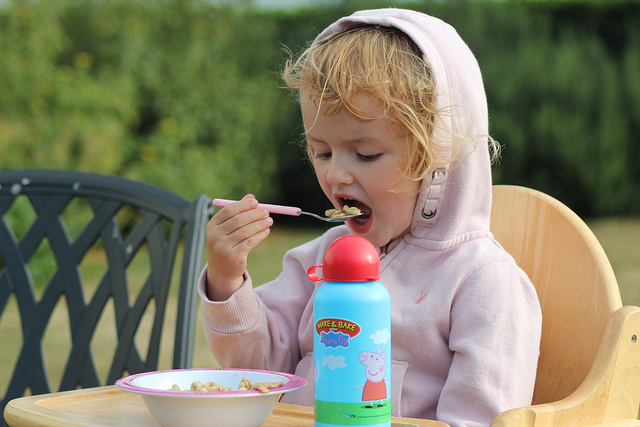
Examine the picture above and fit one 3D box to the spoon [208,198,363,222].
[{"bbox_3d":[-0.162,-0.024,4.871,0.758,0.124,0.154,7,11,-8],"label":"spoon"}]
